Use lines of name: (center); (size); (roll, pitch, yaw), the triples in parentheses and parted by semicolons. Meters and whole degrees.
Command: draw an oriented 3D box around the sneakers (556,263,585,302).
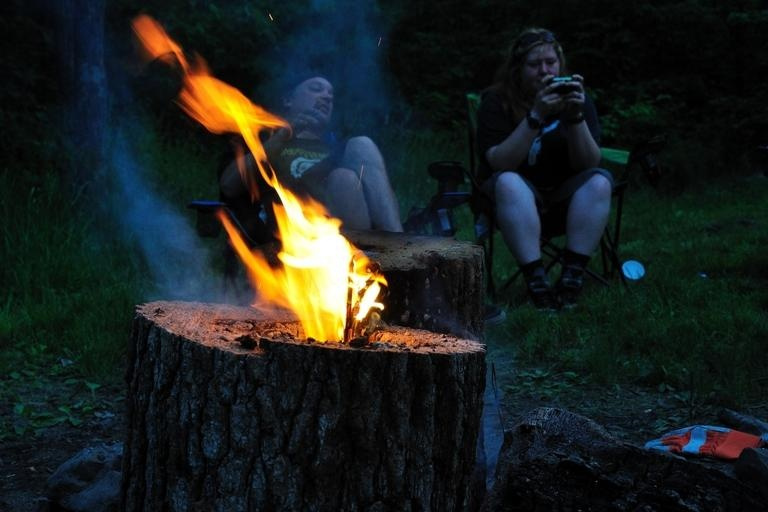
sneakers: (1.515, 0.232, 6.144); (0.131, 0.399, 0.284); (4, 58, 8)

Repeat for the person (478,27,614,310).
person: (1.337, -0.798, 6.394); (0.978, 2.188, 1.128); (-12, 16, -24)

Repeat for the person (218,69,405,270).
person: (-0.518, -0.818, 6.041); (1.230, 1.749, 1.029); (-17, -1, 28)

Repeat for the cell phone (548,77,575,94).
cell phone: (1.430, -1.377, 6.047); (0.173, 0.129, 0.146); (-7, 15, -8)
